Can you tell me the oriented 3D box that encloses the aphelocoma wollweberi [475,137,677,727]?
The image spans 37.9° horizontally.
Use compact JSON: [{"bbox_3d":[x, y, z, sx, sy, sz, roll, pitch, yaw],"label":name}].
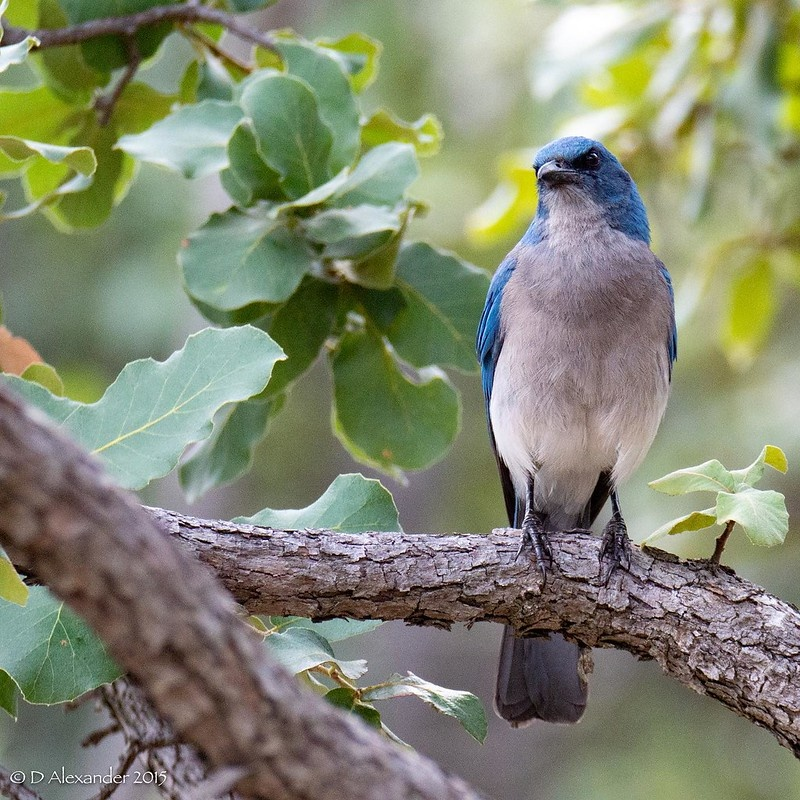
[{"bbox_3d":[0.660,-0.143,4.561,0.534,3.281,1.282,7,-2,9],"label":"aphelocoma wollweberi"}]
